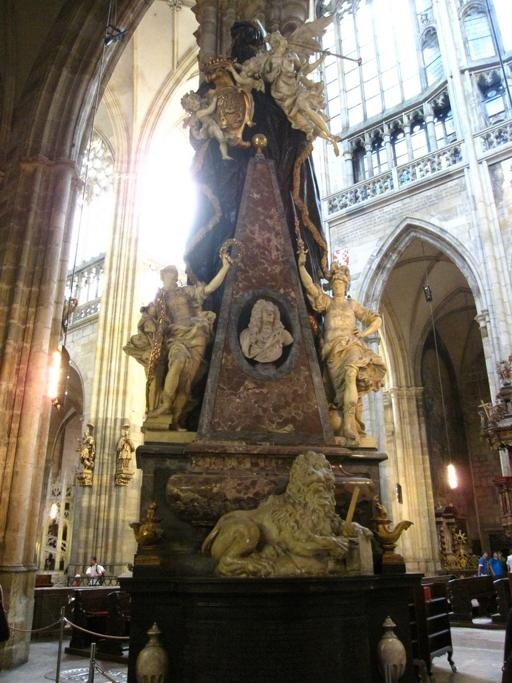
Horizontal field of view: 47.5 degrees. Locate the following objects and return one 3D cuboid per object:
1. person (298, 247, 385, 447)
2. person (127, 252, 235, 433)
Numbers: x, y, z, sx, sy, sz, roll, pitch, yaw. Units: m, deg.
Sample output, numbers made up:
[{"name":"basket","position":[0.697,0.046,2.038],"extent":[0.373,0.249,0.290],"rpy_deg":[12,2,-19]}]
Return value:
[{"name":"person","position":[0.658,0.000,4.258],"extent":[0.762,1.605,0.374],"rpy_deg":[17,-29,-40]},{"name":"person","position":[-0.574,0.051,4.105],"extent":[0.678,1.268,0.636],"rpy_deg":[4,-12,-30]}]
